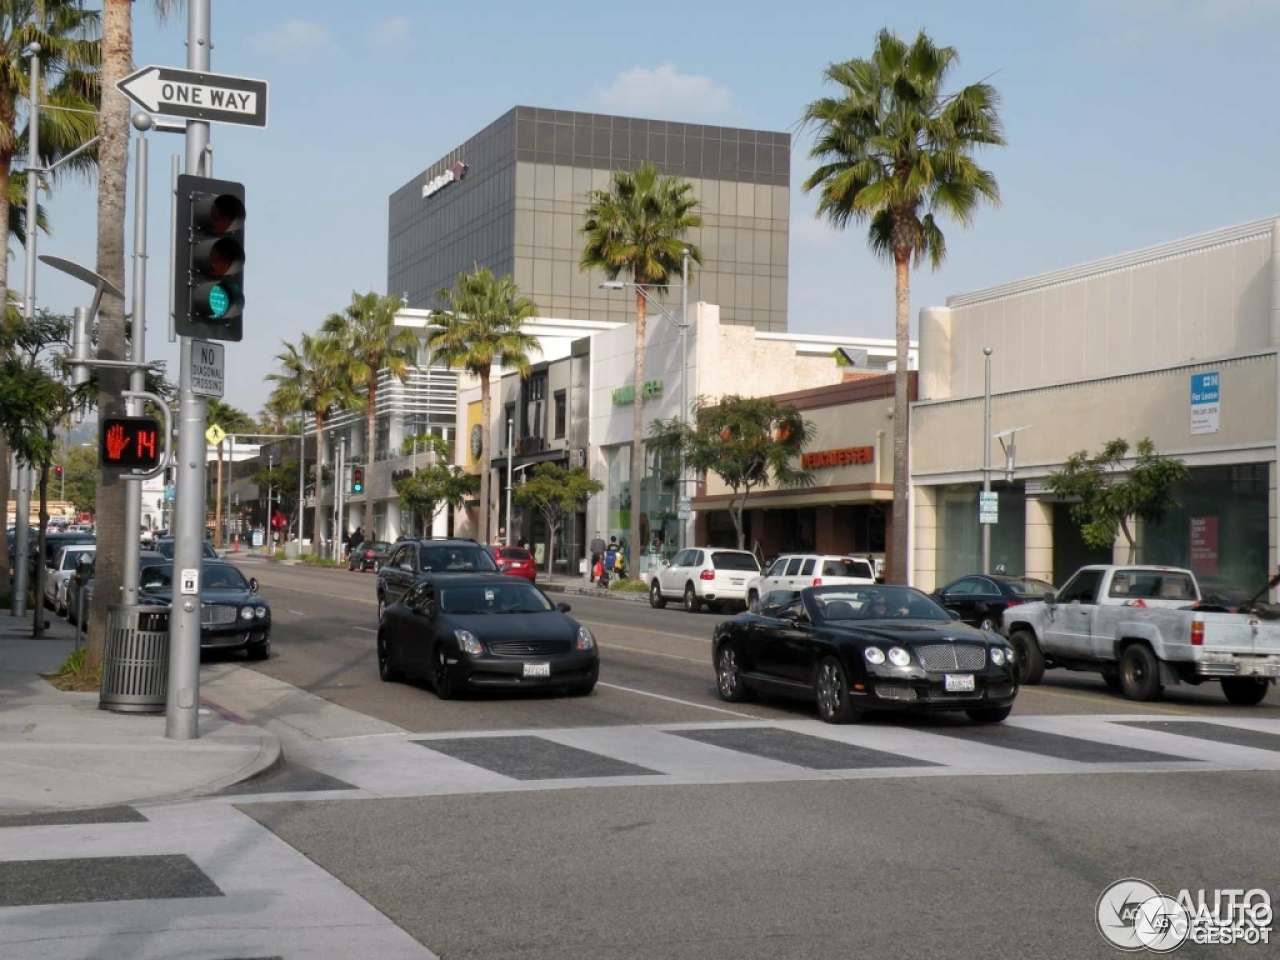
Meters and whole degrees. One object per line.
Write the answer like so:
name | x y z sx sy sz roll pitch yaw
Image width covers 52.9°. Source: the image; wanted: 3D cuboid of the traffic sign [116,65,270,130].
traffic sign | -4.407 -3.878 12.798 1.323 0.522 0.268 2 -2 -26

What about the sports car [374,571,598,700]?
sports car | -2.489 2.341 19.894 2.424 1.644 5.275 2 -4 -23

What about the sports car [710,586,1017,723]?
sports car | 2.732 2.250 16.930 2.091 1.690 4.424 2 -2 -36

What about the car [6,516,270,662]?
car | -9.449 2.106 23.232 3.723 2.690 6.658 1 -4 -27

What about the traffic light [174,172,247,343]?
traffic light | -4.243 -2.248 12.744 0.632 1.688 0.583 1 -1 -25

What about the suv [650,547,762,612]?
suv | 2.128 3.121 40.831 1.518 1.383 3.475 2 0 -21
